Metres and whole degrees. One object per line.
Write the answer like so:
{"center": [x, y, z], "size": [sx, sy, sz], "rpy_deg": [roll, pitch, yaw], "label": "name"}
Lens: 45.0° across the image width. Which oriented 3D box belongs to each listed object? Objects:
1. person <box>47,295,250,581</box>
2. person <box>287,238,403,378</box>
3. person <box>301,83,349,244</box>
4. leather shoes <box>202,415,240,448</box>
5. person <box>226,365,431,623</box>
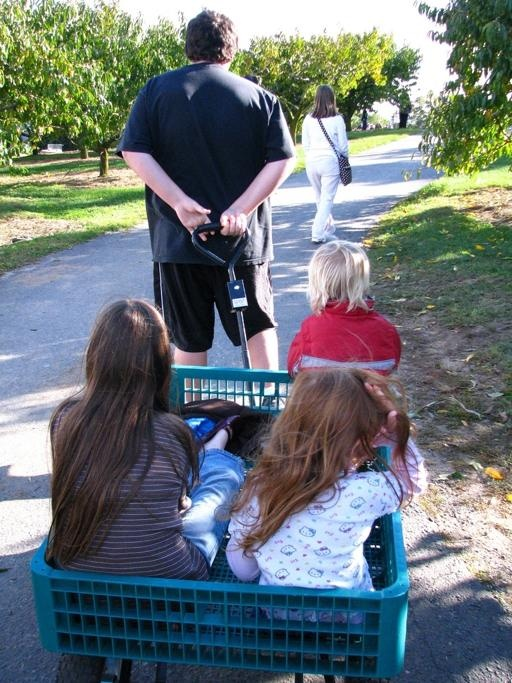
{"center": [-0.327, 0.308, 2.058], "size": [0.561, 0.827, 0.858], "rpy_deg": [8, 8, 15], "label": "person"}
{"center": [0.380, -0.105, 2.837], "size": [0.599, 0.682, 0.422], "rpy_deg": [-6, 19, -16], "label": "person"}
{"center": [0.894, -2.275, 8.022], "size": [0.601, 1.965, 0.788], "rpy_deg": [1, 19, 4], "label": "person"}
{"center": [-0.138, 0.380, 2.547], "size": [0.058, 0.078, 0.184], "rpy_deg": [39, 32, 0], "label": "leather shoes"}
{"center": [0.210, 0.443, 1.816], "size": [0.556, 0.678, 0.442], "rpy_deg": [5, 10, 11], "label": "person"}
